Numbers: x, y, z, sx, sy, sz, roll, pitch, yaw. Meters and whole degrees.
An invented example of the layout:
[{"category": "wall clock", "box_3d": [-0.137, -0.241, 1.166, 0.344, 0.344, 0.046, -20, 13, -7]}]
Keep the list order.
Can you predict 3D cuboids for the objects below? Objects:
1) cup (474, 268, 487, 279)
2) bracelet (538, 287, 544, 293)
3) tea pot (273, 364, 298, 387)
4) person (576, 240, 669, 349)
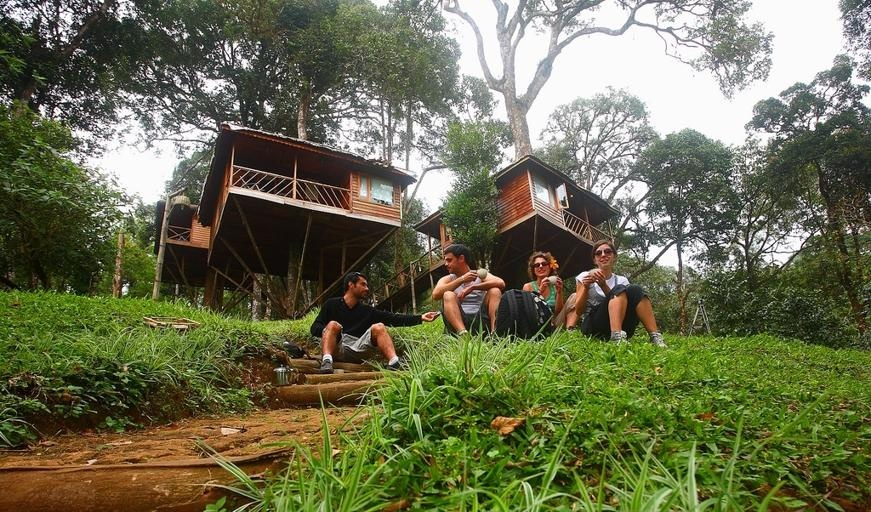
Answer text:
[{"category": "cup", "box_3d": [1.074, 0.372, 12.059, 0.231, 0.247, 0.223, -3, -8, 0]}, {"category": "bracelet", "box_3d": [2.431, 0.742, 12.126, 0.099, 0.128, 0.043, -4, -11, 26]}, {"category": "tea pot", "box_3d": [-3.251, 2.586, 11.554, 0.427, 0.364, 0.426, 0, -16, 0]}, {"category": "person", "box_3d": [3.863, 0.705, 11.446, 1.624, 2.254, 0.995, 0, -10, 12]}]
